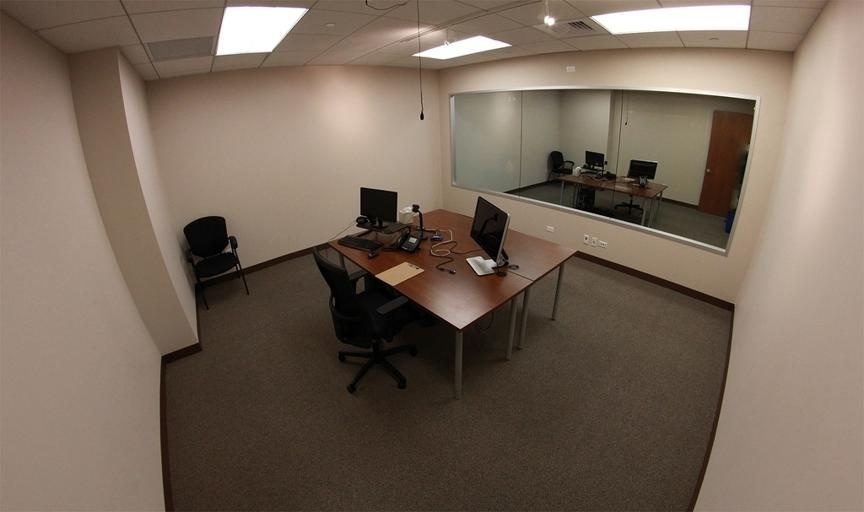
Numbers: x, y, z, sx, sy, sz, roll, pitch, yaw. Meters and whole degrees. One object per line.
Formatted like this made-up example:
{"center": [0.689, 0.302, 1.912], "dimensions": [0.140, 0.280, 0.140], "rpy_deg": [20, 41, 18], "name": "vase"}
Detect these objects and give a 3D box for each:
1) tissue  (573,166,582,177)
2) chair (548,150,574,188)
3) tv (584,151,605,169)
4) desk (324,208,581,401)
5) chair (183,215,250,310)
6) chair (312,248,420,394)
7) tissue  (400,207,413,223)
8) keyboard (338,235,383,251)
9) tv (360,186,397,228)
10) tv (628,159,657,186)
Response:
{"center": [2.150, -1.251, 8.002], "dimensions": [0.134, 0.153, 0.126], "rpy_deg": [-17, 15, -37], "name": "tissue "}
{"center": [1.945, -1.340, 8.267], "dimensions": [0.460, 0.521, 0.418], "rpy_deg": [-20, 25, -30], "name": "chair"}
{"center": [2.337, -1.378, 7.811], "dimensions": [0.076, 0.239, 0.282], "rpy_deg": [2, 10, -44], "name": "tv"}
{"center": [0.508, 0.131, 6.126], "dimensions": [2.546, 0.958, 2.032], "rpy_deg": [26, 38, 38], "name": "desk"}
{"center": [-2.918, -0.105, 7.174], "dimensions": [0.624, 0.729, 0.842], "rpy_deg": [-11, 22, -23], "name": "chair"}
{"center": [-0.678, 0.754, 5.974], "dimensions": [0.877, 1.200, 0.904], "rpy_deg": [-26, 45, -27], "name": "chair"}
{"center": [-0.320, -0.521, 7.001], "dimensions": [0.195, 0.177, 0.115], "rpy_deg": [-21, 30, -41], "name": "tissue "}
{"center": [-0.859, -0.147, 6.499], "dimensions": [0.411, 0.053, 0.233], "rpy_deg": [14, 28, 27], "name": "keyboard"}
{"center": [-0.675, -0.595, 6.849], "dimensions": [0.608, 0.518, 0.258], "rpy_deg": [11, 17, 38], "name": "tv"}
{"center": [2.882, -1.154, 7.430], "dimensions": [0.266, 0.354, 0.333], "rpy_deg": [21, 32, 28], "name": "tv"}
